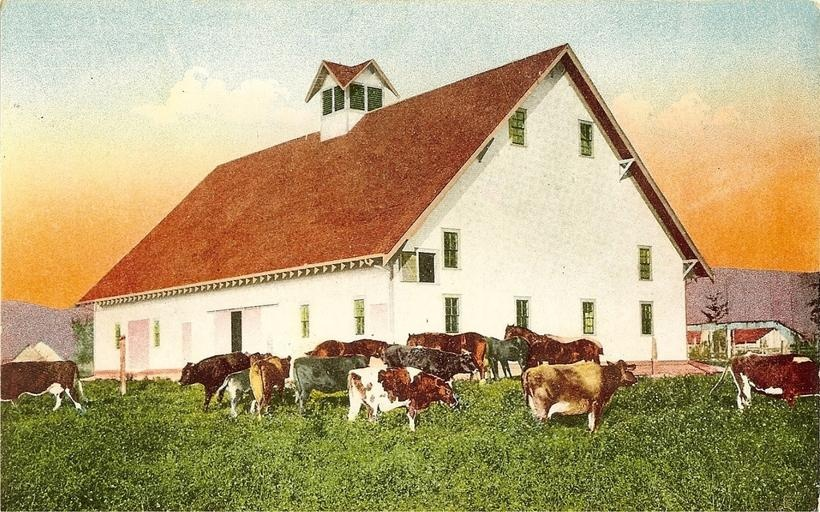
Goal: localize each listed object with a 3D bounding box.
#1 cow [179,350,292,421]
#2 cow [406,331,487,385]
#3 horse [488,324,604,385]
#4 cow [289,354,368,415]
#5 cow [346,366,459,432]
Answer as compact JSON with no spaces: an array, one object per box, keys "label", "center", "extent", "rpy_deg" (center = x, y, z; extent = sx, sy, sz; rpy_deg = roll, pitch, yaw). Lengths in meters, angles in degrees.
[{"label":"cow","center":[-6.655,4.885,52.593],"extent":[6.445,3.491,1.696],"rpy_deg":[0,-26,-2]},{"label":"cow","center":[1.275,3.909,50.485],"extent":[4.404,2.523,1.038],"rpy_deg":[3,-19,-1]},{"label":"horse","center":[5.564,3.680,51.849],"extent":[4.914,2.253,2.526],"rpy_deg":[0,-6,0]},{"label":"cow","center":[-2.657,4.542,49.757],"extent":[3.936,2.228,1.266],"rpy_deg":[-3,-2,-8]},{"label":"cow","center":[-0.421,5.647,48.640],"extent":[4.399,2.844,2.629],"rpy_deg":[-3,-4,32]}]
